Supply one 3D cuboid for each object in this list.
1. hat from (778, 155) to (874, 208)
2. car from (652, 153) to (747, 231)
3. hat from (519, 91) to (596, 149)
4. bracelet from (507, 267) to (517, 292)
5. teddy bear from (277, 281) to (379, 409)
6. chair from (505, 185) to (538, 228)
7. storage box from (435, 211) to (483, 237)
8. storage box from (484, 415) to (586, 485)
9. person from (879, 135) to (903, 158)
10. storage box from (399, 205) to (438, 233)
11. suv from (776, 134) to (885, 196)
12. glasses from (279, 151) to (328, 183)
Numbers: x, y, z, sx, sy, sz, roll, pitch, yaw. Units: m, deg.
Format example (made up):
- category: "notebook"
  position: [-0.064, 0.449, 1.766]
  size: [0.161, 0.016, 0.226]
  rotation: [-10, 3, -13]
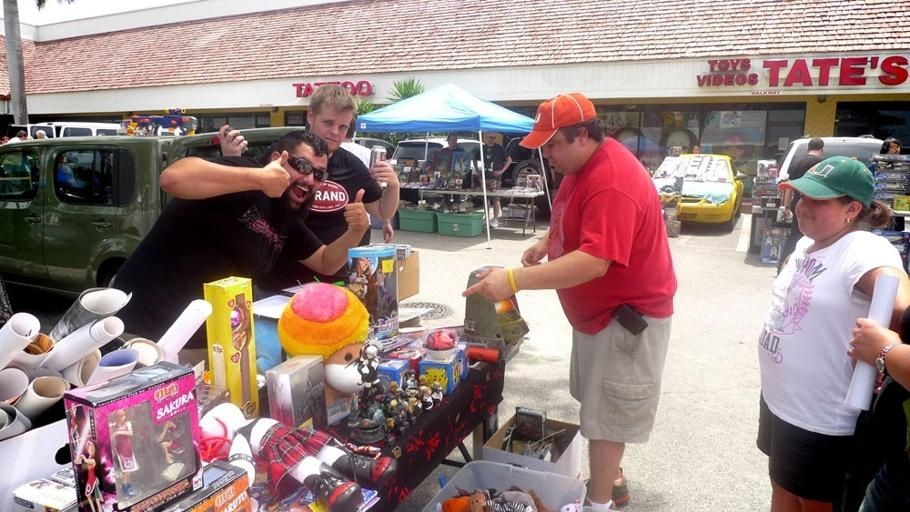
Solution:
- category: "hat"
  position: [2.325, -0.479, 3.471]
  size: [0.442, 0.233, 0.310]
  rotation: [4, 12, 1]
- category: "car"
  position: [5.807, -1.637, 13.189]
  size: [2.121, 1.275, 3.641]
  rotation: [4, 11, 24]
- category: "hat"
  position: [0.687, -0.946, 3.796]
  size: [0.487, 0.246, 0.306]
  rotation: [-20, 16, 8]
- category: "bracelet"
  position: [0.365, 0.149, 3.575]
  size: [0.063, 0.137, 0.065]
  rotation: [0, 8, 0]
- category: "teddy bear"
  position: [-0.740, 0.435, 3.468]
  size: [0.616, 0.805, 0.649]
  rotation: [1, 11, 15]
- category: "chair"
  position: [1.617, -1.174, 13.097]
  size: [0.956, 0.877, 0.953]
  rotation: [8, 19, 28]
- category: "storage box"
  position: [0.107, -0.742, 12.392]
  size: [0.784, 0.368, 0.602]
  rotation: [2, 8, 19]
- category: "storage box"
  position: [0.551, 1.390, 3.998]
  size: [0.573, 0.339, 0.569]
  rotation: [3, 10, 21]
- category: "person"
  position: [7.017, -1.772, 8.936]
  size: [0.229, 0.292, 1.443]
  rotation: [6, 11, 37]
- category: "storage box"
  position: [-0.890, -0.844, 12.869]
  size: [0.783, 0.337, 0.538]
  rotation: [1, 5, 14]
- category: "suv"
  position: [7.001, -1.823, 10.335]
  size: [1.327, 1.217, 2.264]
  rotation: [8, 10, 38]
- category: "glasses"
  position: [-0.917, -0.565, 3.431]
  size: [0.167, 0.054, 0.164]
  rotation: [32, 7, 34]
